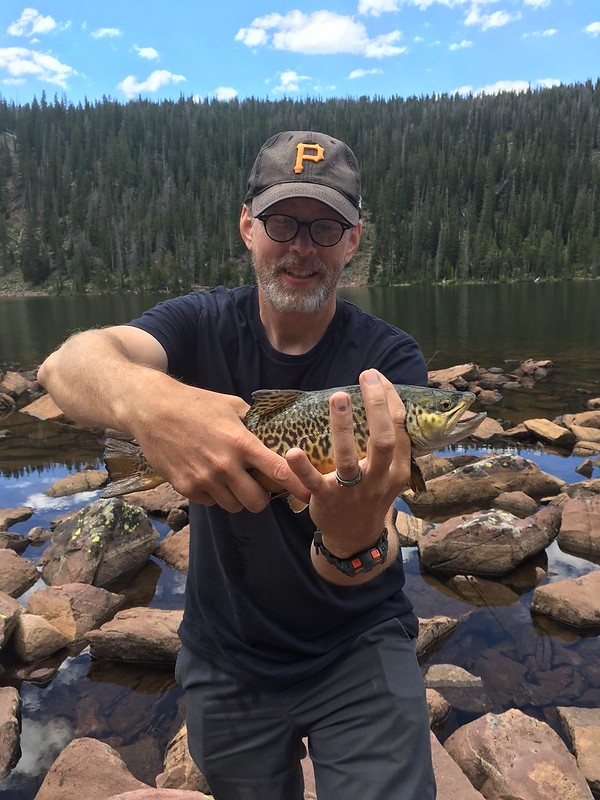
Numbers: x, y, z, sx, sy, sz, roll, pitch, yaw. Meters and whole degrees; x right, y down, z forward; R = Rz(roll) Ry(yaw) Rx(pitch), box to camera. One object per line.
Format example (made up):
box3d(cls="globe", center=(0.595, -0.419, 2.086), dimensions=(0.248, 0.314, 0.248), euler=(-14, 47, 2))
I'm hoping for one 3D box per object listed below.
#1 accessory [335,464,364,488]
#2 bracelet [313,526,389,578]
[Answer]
box3d(cls="accessory", center=(0.225, 0.350, 2.764), dimensions=(0.129, 0.100, 0.082), euler=(-4, 14, -4))
box3d(cls="bracelet", center=(0.284, 0.888, 3.478), dimensions=(0.423, 0.323, 0.211), euler=(-3, 14, 3))
